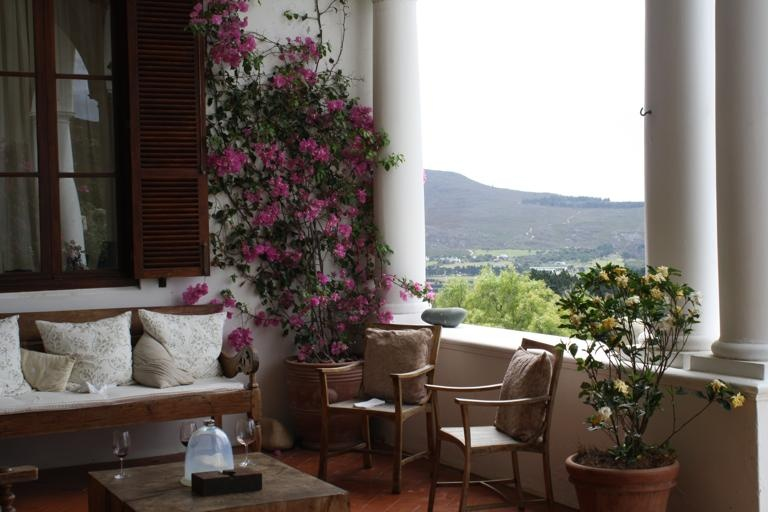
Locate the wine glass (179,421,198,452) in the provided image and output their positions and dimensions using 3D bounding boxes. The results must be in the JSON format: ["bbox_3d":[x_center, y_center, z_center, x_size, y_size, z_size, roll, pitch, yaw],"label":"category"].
[{"bbox_3d":[-1.186,1.076,3.878,0.078,0.157,0.259,-1,7,-17],"label":"wine glass"}]

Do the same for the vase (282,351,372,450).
[{"bbox_3d":[-0.503,1.351,6.040,0.799,0.683,0.758,-1,-1,10],"label":"vase"}]

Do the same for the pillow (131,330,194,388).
[{"bbox_3d":[-1.943,0.875,5.429,0.206,0.474,0.564,4,2,-9],"label":"pillow"}]

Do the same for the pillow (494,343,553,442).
[{"bbox_3d":[0.993,0.946,4.445,0.311,0.612,0.435,-1,8,-21],"label":"pillow"}]

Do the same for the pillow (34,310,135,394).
[{"bbox_3d":[-2.404,0.794,5.116,0.524,0.448,0.235,-8,8,-19],"label":"pillow"}]

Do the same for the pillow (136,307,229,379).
[{"bbox_3d":[-1.695,0.797,5.556,0.319,0.714,0.763,8,7,44],"label":"pillow"}]

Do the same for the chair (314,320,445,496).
[{"bbox_3d":[-0.020,1.183,5.141,0.747,1.203,0.782,-3,-6,34],"label":"chair"}]

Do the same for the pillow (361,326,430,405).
[{"bbox_3d":[0.114,0.909,5.176,0.527,0.541,0.283,0,-17,17],"label":"pillow"}]

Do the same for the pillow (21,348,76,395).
[{"bbox_3d":[-2.666,0.919,5.064,0.544,0.349,0.165,0,-4,24],"label":"pillow"}]

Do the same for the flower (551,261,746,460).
[{"bbox_3d":[1.631,0.690,4.103,0.924,1.237,0.894,2,-3,3],"label":"flower"}]
